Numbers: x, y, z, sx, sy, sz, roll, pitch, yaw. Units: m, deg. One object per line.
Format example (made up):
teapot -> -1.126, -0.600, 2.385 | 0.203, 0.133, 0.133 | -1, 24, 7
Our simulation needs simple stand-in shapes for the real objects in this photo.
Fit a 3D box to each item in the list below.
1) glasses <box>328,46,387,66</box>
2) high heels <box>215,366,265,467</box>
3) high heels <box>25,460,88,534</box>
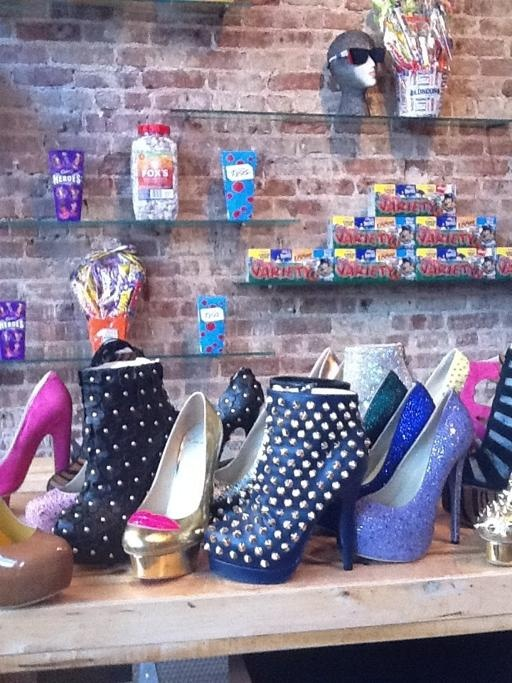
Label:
glasses -> 0.288, -0.866, 2.885 | 0.202, 0.059, 0.076 | 15, 27, 32
high heels -> -0.040, 0.127, 1.742 | 0.057, 0.207, 0.091 | 8, 3, 39
high heels -> -0.314, 0.268, 1.569 | 0.083, 0.056, 0.130 | 4, 57, 24
